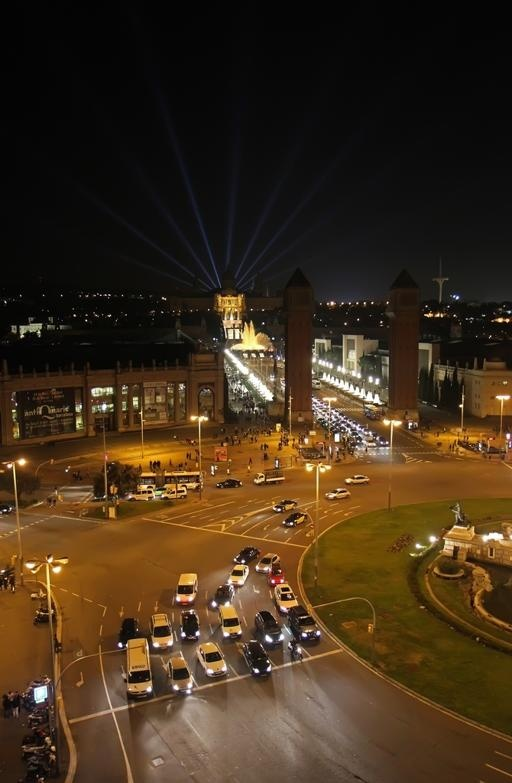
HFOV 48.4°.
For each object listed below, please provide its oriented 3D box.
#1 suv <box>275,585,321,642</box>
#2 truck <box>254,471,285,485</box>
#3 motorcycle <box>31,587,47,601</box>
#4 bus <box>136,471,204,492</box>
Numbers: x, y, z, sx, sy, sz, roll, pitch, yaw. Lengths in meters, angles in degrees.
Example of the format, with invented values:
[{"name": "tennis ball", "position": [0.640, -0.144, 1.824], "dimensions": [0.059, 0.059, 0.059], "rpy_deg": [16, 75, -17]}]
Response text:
[{"name": "suv", "position": [1.896, 10.660, 28.143], "dimensions": [1.520, 0.915, 5.808], "rpy_deg": [-1, 3, -11]}, {"name": "truck", "position": [1.143, 8.530, 56.677], "dimensions": [2.179, 1.269, 1.439], "rpy_deg": [1, -3, -12]}, {"name": "motorcycle", "position": [-11.764, 11.053, 31.025], "dimensions": [0.474, 0.283, 0.698], "rpy_deg": [4, 2, -12]}, {"name": "bus", "position": [-8.484, 9.483, 56.504], "dimensions": [7.455, 2.709, 2.399], "rpy_deg": [0, 8, -1]}]
